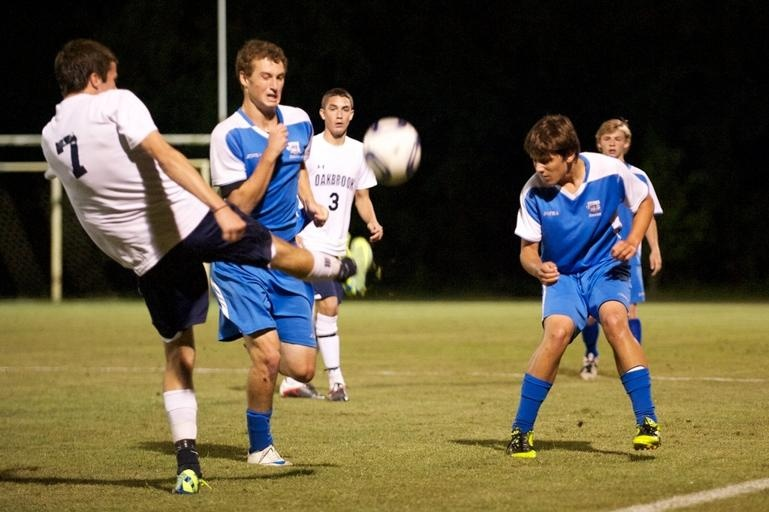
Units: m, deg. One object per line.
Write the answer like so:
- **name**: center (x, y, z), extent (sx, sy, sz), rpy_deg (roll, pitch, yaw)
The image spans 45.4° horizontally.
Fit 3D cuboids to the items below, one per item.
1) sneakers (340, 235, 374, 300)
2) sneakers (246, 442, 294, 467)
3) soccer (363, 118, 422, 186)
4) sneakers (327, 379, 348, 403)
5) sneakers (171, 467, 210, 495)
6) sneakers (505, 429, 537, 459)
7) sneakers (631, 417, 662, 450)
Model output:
- **sneakers**: center (-0.292, 0.099, 8.781), extent (0.222, 0.271, 0.639), rpy_deg (-27, 34, 16)
- **sneakers**: center (-1.060, 1.792, 8.323), extent (0.453, 0.220, 0.160), rpy_deg (2, -2, 1)
- **soccer**: center (0.082, -1.068, 9.642), extent (0.642, 0.774, 0.635), rpy_deg (-2, 2, -6)
- **sneakers**: center (-0.532, 1.549, 10.530), extent (0.231, 0.242, 0.171), rpy_deg (-1, -3, 6)
- **sneakers**: center (-1.645, 1.909, 7.720), extent (0.180, 0.158, 0.257), rpy_deg (39, 0, 4)
- **sneakers**: center (1.313, 1.725, 8.505), extent (0.138, 0.263, 0.383), rpy_deg (2, -2, 40)
- **sneakers**: center (2.353, 1.603, 8.287), extent (0.207, 0.302, 0.174), rpy_deg (2, 4, 18)
